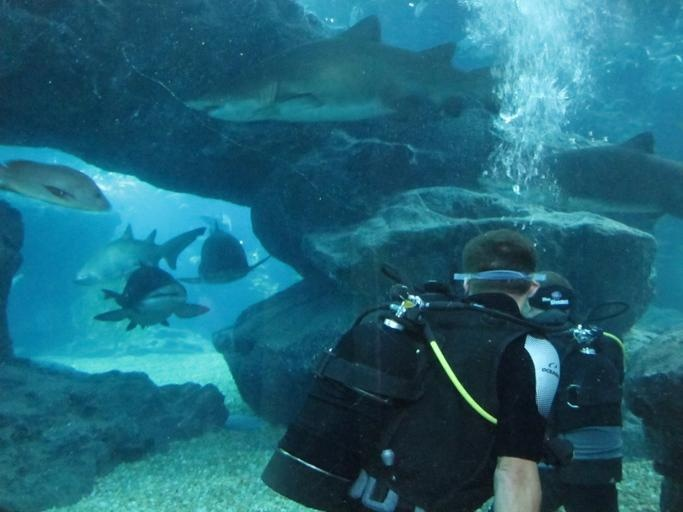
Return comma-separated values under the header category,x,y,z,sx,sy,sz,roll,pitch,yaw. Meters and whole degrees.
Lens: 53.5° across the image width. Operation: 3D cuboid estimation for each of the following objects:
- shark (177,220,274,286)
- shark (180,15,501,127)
category,x,y,z,sx,sy,sz,roll,pitch,yaw
shark,-3.248,-0.146,17.878,1.510,0.970,2.089,-6,17,-18
shark,0.029,-4.272,15.275,6.017,2.255,6.287,-10,15,-44
